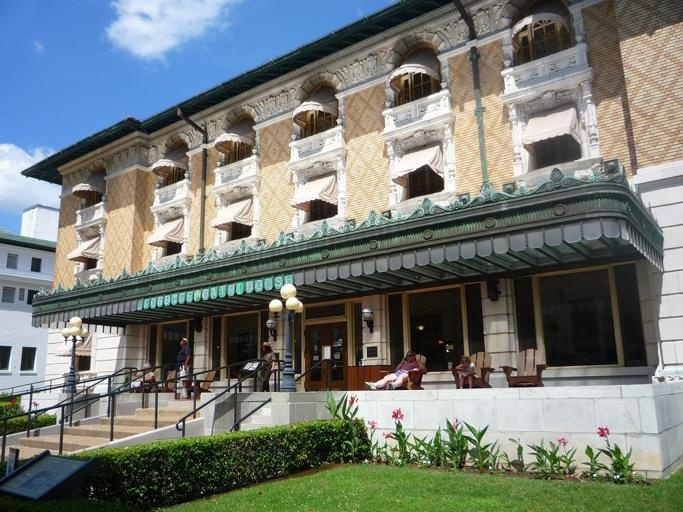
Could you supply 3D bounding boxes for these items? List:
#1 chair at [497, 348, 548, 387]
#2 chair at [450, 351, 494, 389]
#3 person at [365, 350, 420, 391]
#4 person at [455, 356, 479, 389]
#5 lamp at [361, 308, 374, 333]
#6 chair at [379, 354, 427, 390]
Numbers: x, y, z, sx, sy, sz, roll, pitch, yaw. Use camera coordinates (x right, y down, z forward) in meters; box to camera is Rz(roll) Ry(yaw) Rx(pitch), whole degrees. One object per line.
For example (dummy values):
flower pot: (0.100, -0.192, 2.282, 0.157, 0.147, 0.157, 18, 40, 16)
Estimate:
chair: (5.082, 3.215, 16.801, 1.158, 1.322, 1.414, -6, -14, 22)
chair: (3.845, 3.352, 17.635, 1.110, 1.170, 1.271, -4, -8, 16)
person: (1.557, 3.294, 17.375, 1.168, 1.068, 1.985, -17, -15, 37)
person: (3.568, 3.342, 17.321, 0.725, 1.050, 0.667, -8, -9, 38)
lamp: (0.950, 2.256, 21.392, 0.367, 0.816, 0.522, -3, -15, 3)
chair: (1.610, 3.259, 17.359, 1.282, 1.239, 1.563, 8, -12, -12)
